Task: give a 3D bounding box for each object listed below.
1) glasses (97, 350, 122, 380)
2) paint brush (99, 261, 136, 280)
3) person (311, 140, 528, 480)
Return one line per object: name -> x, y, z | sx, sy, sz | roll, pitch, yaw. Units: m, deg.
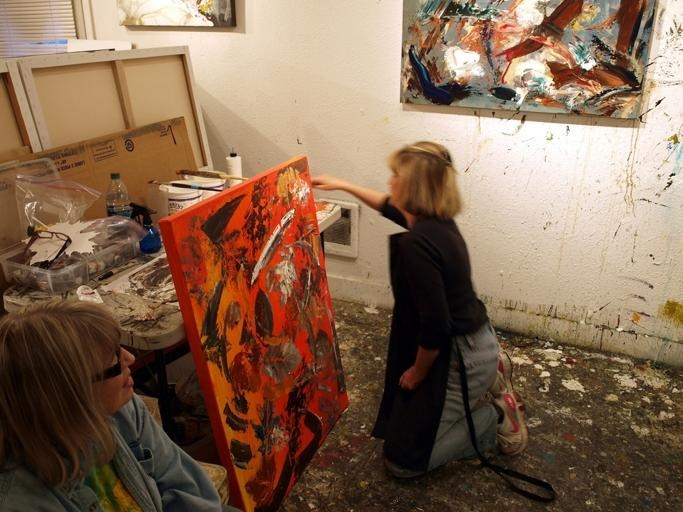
glasses -> -0.572, 0.272, 1.124 | 0.014, 0.052, 0.052 | 20, 27, 2
paint brush -> -0.997, 0.064, 2.032 | 0.044, 0.032, 0.169 | 43, 40, 24
person -> 0.486, 0.269, 2.198 | 0.955, 1.555, 0.652 | 12, 22, 25
